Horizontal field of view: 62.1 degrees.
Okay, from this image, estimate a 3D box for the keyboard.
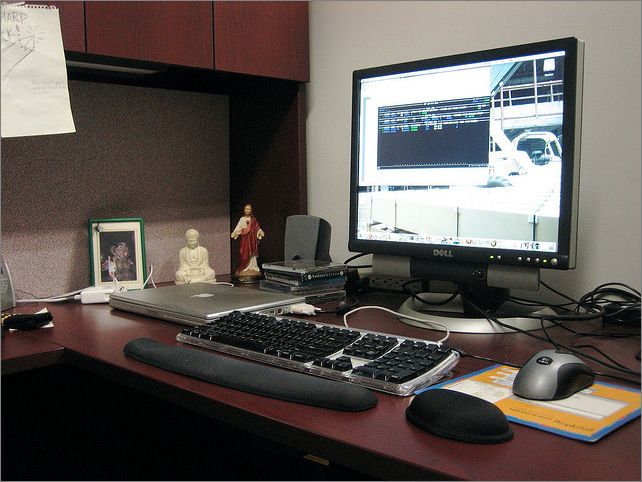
[{"bbox_3d":[-0.029,0.186,0.933,0.505,0.050,0.156,4,8,31],"label":"keyboard"}]
